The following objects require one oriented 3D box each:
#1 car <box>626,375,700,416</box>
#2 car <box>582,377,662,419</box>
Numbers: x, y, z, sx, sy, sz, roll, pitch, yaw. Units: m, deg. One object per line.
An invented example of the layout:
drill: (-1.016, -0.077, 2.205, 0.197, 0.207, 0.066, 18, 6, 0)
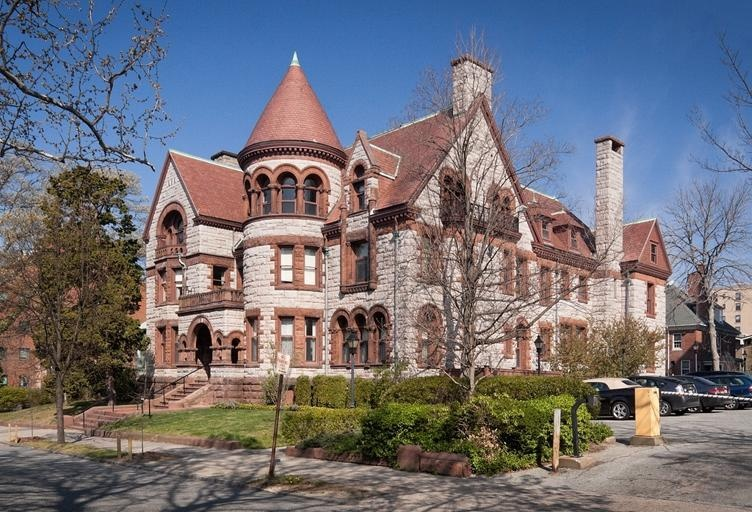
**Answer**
car: (13.728, 6.837, 36.872, 4.794, 1.781, 2.098, -2, -7, 25)
car: (11.590, 6.815, 35.130, 1.832, 2.039, 1.115, -6, -14, 19)
